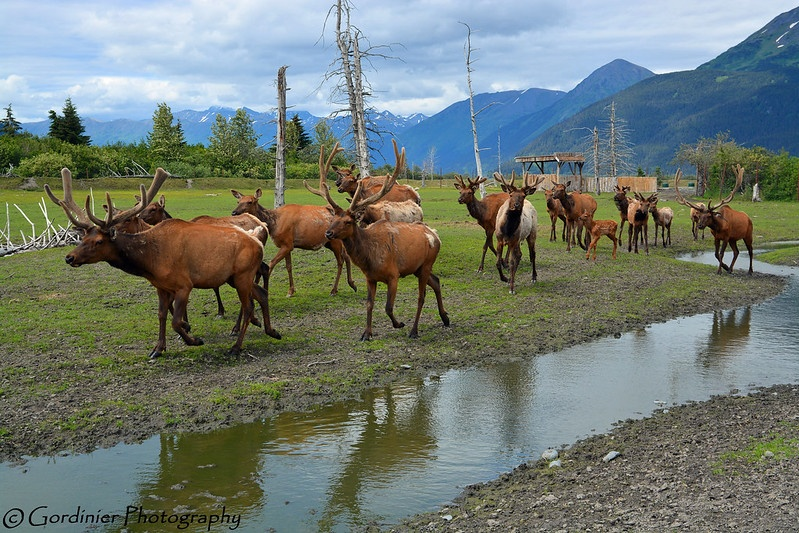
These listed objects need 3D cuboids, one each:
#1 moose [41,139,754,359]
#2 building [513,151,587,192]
[{"bbox_3d":[-2.988,-0.336,15.216,8.393,4.336,2.557,-7,14,-17],"label":"moose"},{"bbox_3d":[15.528,-9.534,68.974,4.340,3.892,6.293,-9,12,-44],"label":"building"}]
